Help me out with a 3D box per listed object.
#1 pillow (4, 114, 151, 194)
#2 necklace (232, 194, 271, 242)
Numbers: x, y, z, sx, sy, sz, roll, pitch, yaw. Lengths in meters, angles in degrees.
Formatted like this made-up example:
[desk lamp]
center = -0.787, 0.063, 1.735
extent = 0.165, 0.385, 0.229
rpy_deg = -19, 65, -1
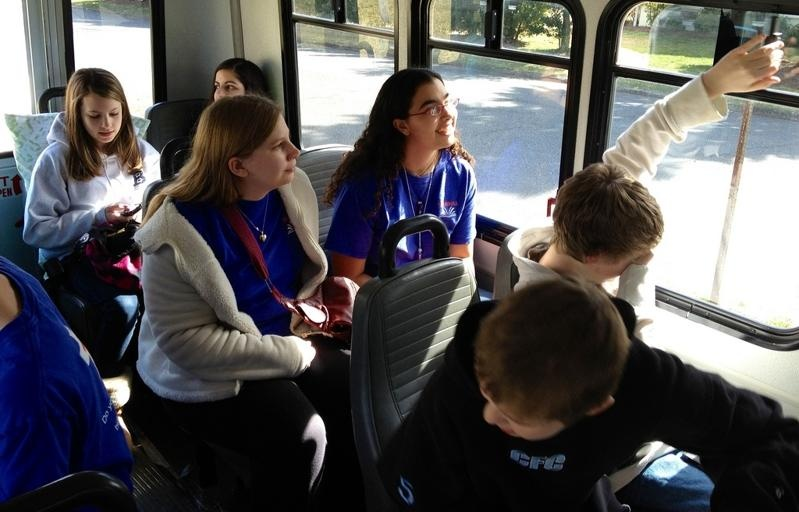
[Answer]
[pillow]
center = -2.187, -0.856, 4.034
extent = 0.732, 0.632, 0.209
rpy_deg = -11, 16, -12
[necklace]
center = -0.668, -0.174, 2.597
extent = 0.091, 0.160, 0.169
rpy_deg = 16, 32, 31
